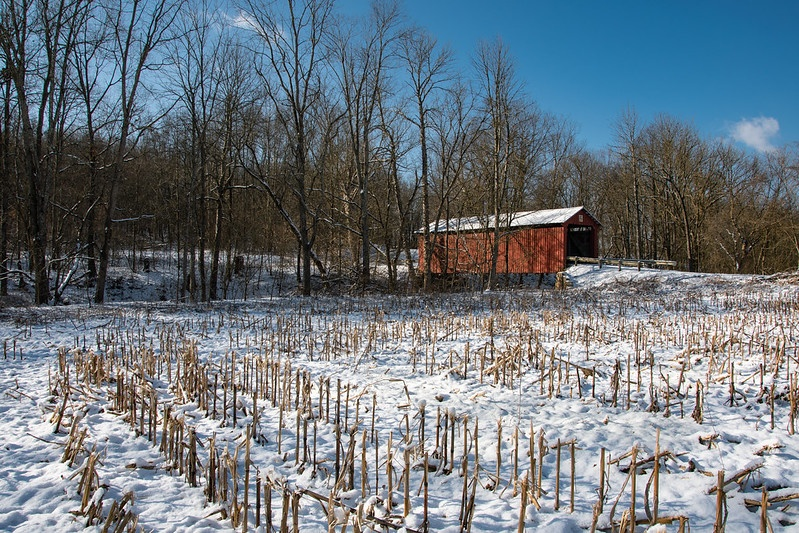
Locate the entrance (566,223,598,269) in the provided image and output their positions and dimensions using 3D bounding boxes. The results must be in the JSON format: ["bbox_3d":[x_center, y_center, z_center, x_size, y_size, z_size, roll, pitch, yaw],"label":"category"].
[{"bbox_3d":[10.449,-1.589,45.463,1.441,2.292,1.656,-1,-4,17],"label":"entrance"}]

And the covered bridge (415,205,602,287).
[{"bbox_3d":[6.251,-1.300,42.666,8.769,3.724,8.156,0,6,8],"label":"covered bridge"}]
